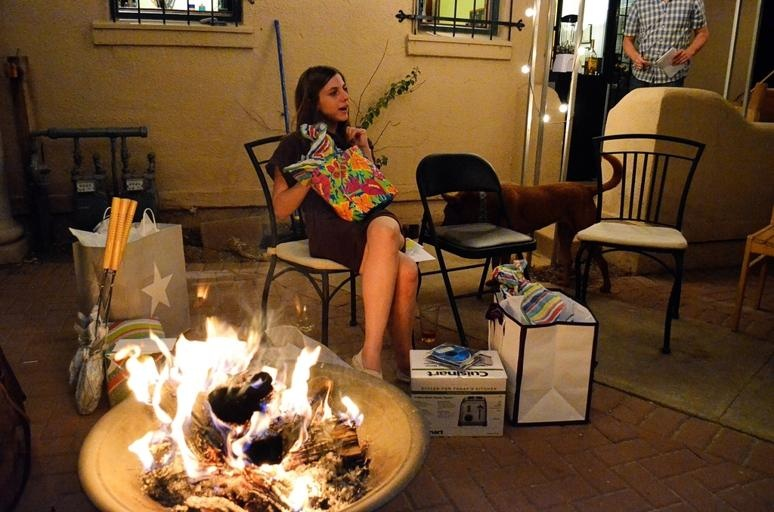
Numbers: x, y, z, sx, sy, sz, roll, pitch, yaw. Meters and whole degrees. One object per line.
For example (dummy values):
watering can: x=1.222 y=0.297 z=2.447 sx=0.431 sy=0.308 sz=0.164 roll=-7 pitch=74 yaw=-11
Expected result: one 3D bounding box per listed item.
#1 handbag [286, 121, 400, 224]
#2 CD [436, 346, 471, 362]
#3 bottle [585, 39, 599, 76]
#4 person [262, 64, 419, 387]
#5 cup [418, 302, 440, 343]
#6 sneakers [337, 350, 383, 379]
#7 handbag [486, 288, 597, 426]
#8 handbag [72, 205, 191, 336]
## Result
handbag: x=-0.234 y=-0.624 z=3.975 sx=0.793 sy=0.549 sz=0.242 roll=47 pitch=43 yaw=10
CD: x=0.399 y=0.585 z=3.545 sx=0.230 sy=0.026 sz=0.154 roll=1 pitch=20 yaw=4
bottle: x=2.927 y=-2.791 z=8.245 sx=0.215 sy=0.472 sz=0.422 roll=6 pitch=21 yaw=19
person: x=-0.255 y=-0.207 z=3.864 sx=0.775 sy=1.943 sz=1.241 roll=-10 pitch=22 yaw=-25
cup: x=0.287 y=0.479 z=3.976 sx=0.124 sy=0.299 sz=0.200 roll=0 pitch=20 yaw=2
sneakers: x=-0.168 y=0.699 z=3.640 sx=0.129 sy=0.149 sz=0.376 roll=2 pitch=12 yaw=-39
handbag: x=0.892 y=0.598 z=3.851 sx=0.691 sy=0.797 sz=0.816 roll=0 pitch=11 yaw=2
handbag: x=-1.709 y=0.192 z=3.992 sx=0.720 sy=0.908 sz=0.509 roll=-12 pitch=23 yaw=-29
